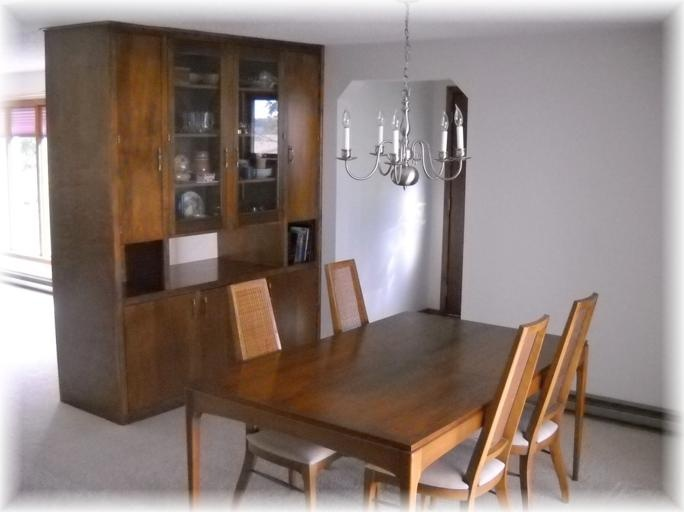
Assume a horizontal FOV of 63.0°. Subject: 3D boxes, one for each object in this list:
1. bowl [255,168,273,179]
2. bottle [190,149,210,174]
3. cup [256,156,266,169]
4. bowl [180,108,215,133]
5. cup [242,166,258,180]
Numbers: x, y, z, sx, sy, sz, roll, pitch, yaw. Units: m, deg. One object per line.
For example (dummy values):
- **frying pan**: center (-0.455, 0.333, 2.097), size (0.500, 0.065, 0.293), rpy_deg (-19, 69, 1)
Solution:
- **bowl**: center (-0.680, -0.728, 4.911), size (0.092, 0.047, 0.101), rpy_deg (14, 20, 43)
- **bottle**: center (-1.121, -0.747, 4.442), size (0.155, 0.173, 0.150), rpy_deg (-10, 18, -38)
- **cup**: center (-0.703, -0.815, 4.875), size (0.091, 0.098, 0.095), rpy_deg (1, 18, 0)
- **bowl**: center (-1.137, -1.054, 4.375), size (0.164, 0.127, 0.212), rpy_deg (4, 14, 15)
- **cup**: center (-0.782, -0.711, 4.757), size (0.083, 0.082, 0.112), rpy_deg (5, 8, 38)
